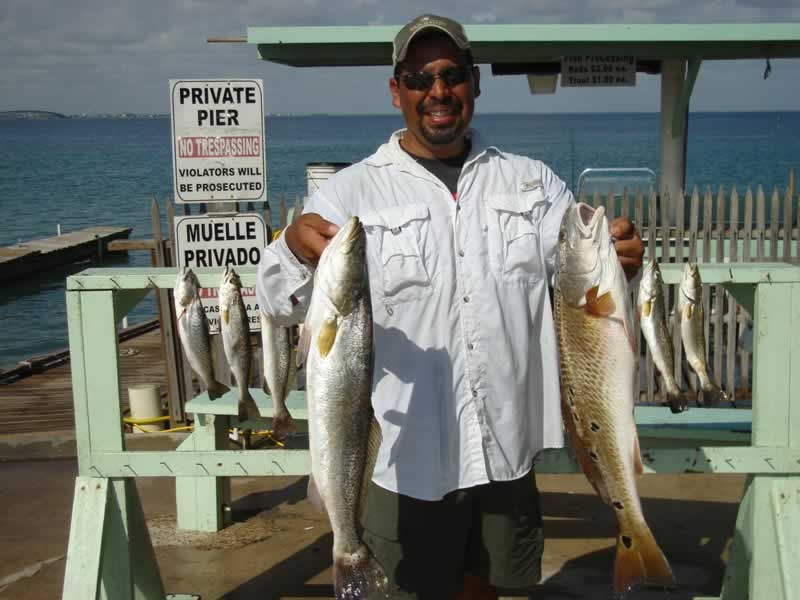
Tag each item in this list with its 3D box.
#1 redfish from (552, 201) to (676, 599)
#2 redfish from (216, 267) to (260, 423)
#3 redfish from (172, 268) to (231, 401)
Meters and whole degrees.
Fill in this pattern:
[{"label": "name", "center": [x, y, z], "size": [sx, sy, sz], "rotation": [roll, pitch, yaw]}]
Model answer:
[{"label": "redfish", "center": [0.988, 0.443, 4.523], "size": [0.627, 1.755, 0.820], "rotation": [10, 13, 33]}, {"label": "redfish", "center": [-0.980, 0.259, 5.382], "size": [0.266, 0.883, 0.317], "rotation": [-2, 13, -13]}, {"label": "redfish", "center": [-1.179, 0.220, 5.337], "size": [0.279, 0.838, 0.488], "rotation": [-3, 5, -14]}]
